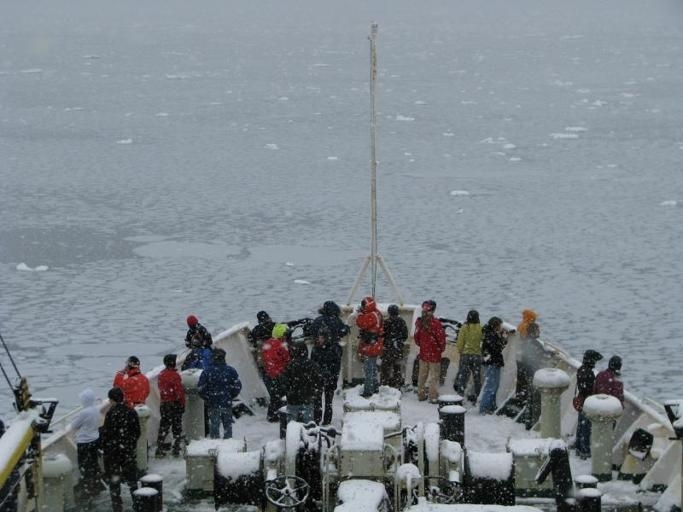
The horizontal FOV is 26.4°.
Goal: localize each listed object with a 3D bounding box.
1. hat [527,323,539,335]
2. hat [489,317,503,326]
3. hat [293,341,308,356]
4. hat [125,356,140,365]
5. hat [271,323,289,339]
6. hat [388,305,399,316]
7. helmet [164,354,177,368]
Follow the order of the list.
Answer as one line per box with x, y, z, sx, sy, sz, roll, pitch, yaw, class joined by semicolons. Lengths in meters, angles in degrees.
6.009;2.334;46.046;0.407;0.360;0.315;25;-25;-30;hat
4.803;2.061;45.977;0.297;0.274;0.328;2;5;8;hat
-1.240;2.840;44.513;0.509;0.401;0.450;2;3;2;hat
-6.314;3.195;44.406;0.305;0.321;0.352;10;-18;-23;hat
-1.946;2.380;45.792;0.479;0.224;0.530;-2;-32;-2;hat
1.627;1.725;46.493;0.307;0.303;0.349;2;7;0;hat
-5.250;3.225;44.759;0.383;0.387;0.146;1;-3;-9;helmet
